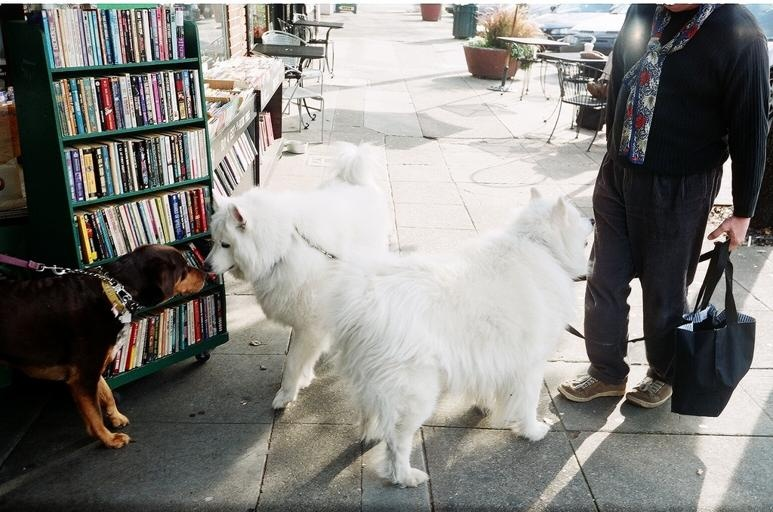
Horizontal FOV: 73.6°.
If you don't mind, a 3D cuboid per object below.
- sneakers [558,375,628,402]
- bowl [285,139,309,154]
[{"bbox_3d":[1.594,1.021,4.128,0.578,0.215,0.199,2,8,0],"label":"sneakers"},{"bbox_3d":[-1.503,-1.800,8.519,0.333,0.148,0.400,-1,15,-9],"label":"bowl"}]
